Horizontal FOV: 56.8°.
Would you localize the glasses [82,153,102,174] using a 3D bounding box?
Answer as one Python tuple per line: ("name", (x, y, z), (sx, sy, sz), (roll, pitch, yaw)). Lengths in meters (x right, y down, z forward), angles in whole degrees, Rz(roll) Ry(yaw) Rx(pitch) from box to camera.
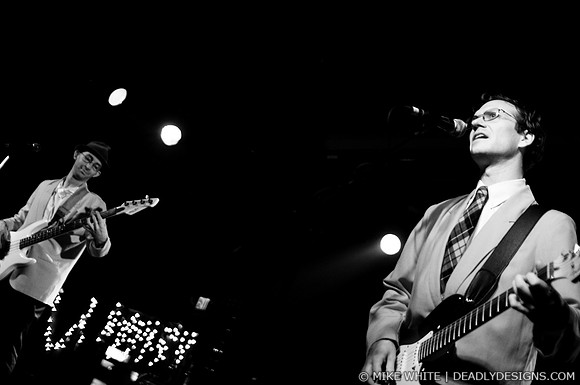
("glasses", (-1.712, -0.244, 4.646), (0.142, 0.056, 0.183), (49, -31, -5))
